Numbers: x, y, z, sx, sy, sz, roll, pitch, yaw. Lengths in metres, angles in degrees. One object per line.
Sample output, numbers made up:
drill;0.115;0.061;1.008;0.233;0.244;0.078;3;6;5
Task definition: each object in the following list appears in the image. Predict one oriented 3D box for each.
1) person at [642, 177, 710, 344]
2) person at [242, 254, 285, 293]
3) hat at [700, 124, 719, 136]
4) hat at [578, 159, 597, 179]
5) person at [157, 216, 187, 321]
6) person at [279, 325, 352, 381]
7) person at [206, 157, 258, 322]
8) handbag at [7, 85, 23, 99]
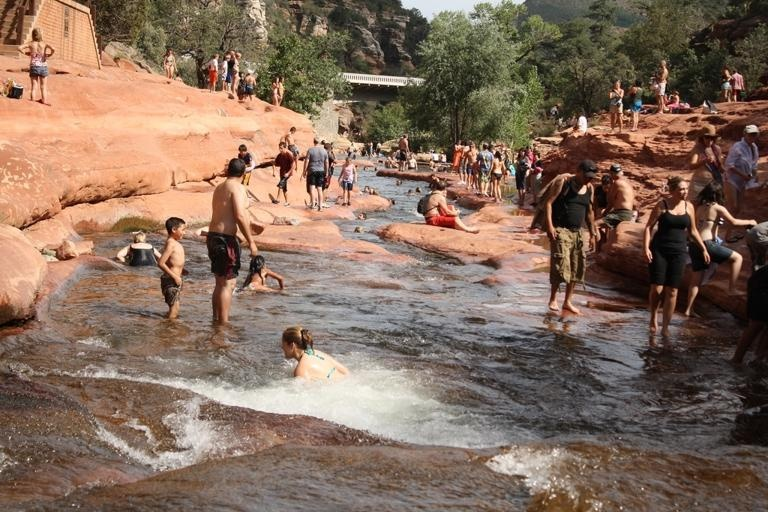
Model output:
person;4.513;0.010;9.399;0.674;2.518;1.096;10;8;30
person;-2.331;0.354;11.484;0.703;1.004;0.370;-2;-41;8
hat;6.451;-2.500;11.783;0.228;0.274;0.495;9;7;27
hat;3.263;-1.399;9.521;0.273;0.298;0.447;7;7;16
person;-3.188;0.150;8.926;0.309;1.475;0.698;4;7;-17
person;-0.909;1.211;7.361;0.652;0.426;0.873;12;18;32
person;-2.249;-0.232;8.737;0.660;2.440;0.816;4;7;-16
handbag;-10.348;-4.628;16.686;0.305;0.395;0.412;10;8;34
